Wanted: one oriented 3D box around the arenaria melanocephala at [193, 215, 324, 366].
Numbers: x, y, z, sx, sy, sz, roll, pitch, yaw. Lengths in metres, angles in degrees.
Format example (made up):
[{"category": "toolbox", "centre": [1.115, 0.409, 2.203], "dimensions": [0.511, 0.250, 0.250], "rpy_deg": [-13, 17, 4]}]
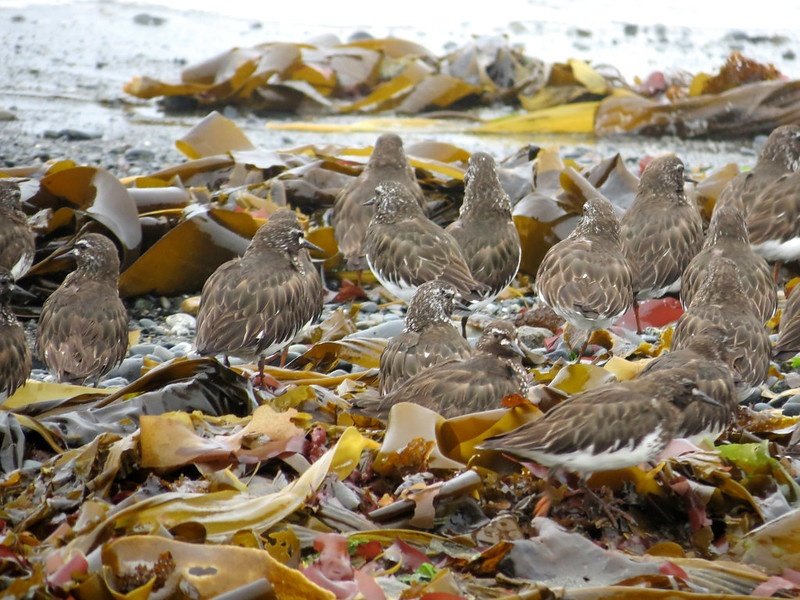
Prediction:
[{"category": "arenaria melanocephala", "centre": [-0.888, -0.061, 6.144], "dimensions": [0.616, 0.895, 0.939], "rpy_deg": [13, 18, 14]}]
